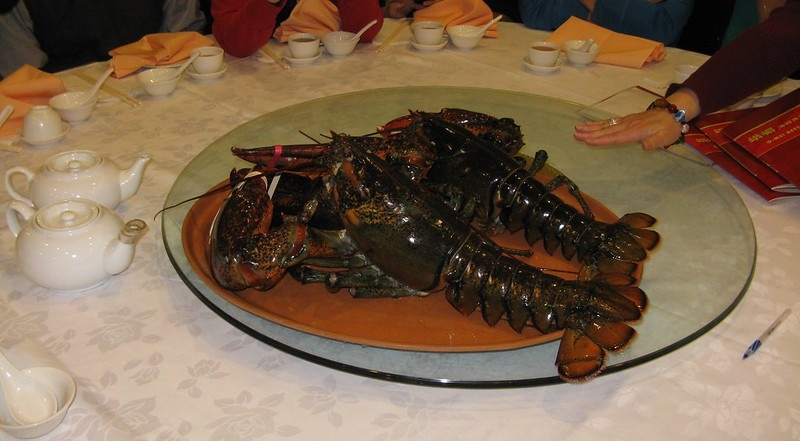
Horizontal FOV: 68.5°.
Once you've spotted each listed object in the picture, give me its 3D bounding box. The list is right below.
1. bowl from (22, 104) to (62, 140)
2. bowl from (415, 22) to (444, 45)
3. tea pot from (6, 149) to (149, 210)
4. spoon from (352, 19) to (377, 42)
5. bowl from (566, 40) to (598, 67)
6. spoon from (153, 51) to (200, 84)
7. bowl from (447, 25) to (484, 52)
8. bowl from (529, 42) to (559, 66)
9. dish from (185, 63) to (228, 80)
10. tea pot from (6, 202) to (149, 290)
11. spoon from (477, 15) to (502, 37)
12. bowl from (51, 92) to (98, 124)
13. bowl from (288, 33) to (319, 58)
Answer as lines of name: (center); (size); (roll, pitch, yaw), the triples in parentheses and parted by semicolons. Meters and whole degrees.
bowl: (-1.986, -0.513, 3.260); (0.213, 0.129, 0.198); (-1, 35, 0)
bowl: (0.192, -1.303, 4.163); (0.200, 0.129, 0.189); (-1, 37, 1)
tea pot: (-1.544, -0.196, 2.821); (0.600, 0.220, 0.316); (-2, 37, -12)
spoon: (-0.250, -1.321, 4.067); (0.084, 0.053, 0.310); (24, 43, 29)
bowl: (1.222, -1.123, 4.006); (0.226, 0.142, 0.210); (2, 41, -2)
spoon: (-1.438, -0.973, 3.759); (0.362, 0.055, 0.097); (-43, 73, 4)
bowl: (0.455, -1.297, 4.131); (0.244, 0.104, 0.215); (-3, 38, -5)
bowl: (0.959, -1.105, 3.889); (0.228, 0.138, 0.165); (7, 33, 8)
dish: (-1.262, -0.939, 3.782); (0.163, 0.033, 0.144); (8, 31, 15)
tea pot: (-1.440, 0.104, 2.595); (0.592, 0.289, 0.372); (17, 33, 6)
spoon: (0.641, -1.395, 4.177); (0.084, 0.066, 0.382); (14, 41, 17)
bowl: (-1.879, -0.655, 3.456); (0.233, 0.112, 0.213); (1, 41, -1)
bowl: (-0.643, -1.176, 3.961); (0.212, 0.131, 0.185); (2, 31, -2)
